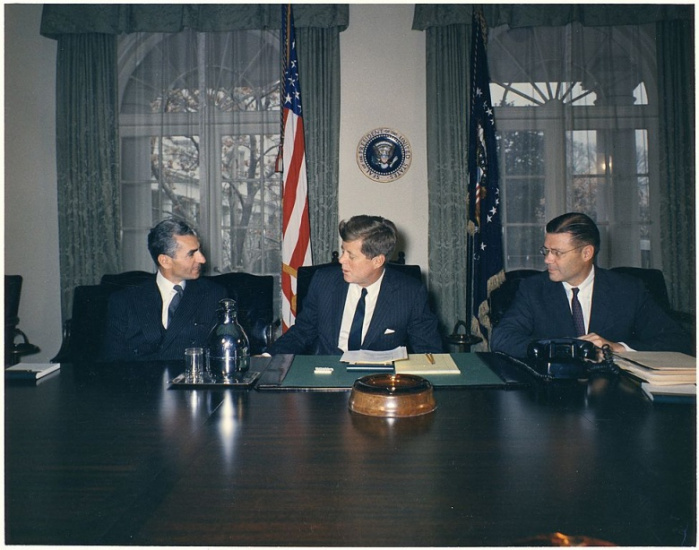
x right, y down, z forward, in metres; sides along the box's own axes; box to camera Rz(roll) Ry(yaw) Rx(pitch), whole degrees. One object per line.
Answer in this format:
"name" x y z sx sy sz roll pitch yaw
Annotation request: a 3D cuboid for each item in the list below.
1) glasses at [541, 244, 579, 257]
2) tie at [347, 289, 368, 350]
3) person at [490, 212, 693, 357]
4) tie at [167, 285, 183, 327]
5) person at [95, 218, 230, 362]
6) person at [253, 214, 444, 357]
"glasses" 0.964 -0.107 3.063 0.164 0.050 0.061 11 18 41
"tie" 0.033 0.202 3.100 0.053 0.291 0.033 10 -34 1
"person" 1.065 0.040 2.949 0.836 0.563 0.539 2 14 12
"tie" -0.826 0.139 3.132 0.063 0.203 0.022 7 -36 -5
"person" -0.883 0.160 3.201 0.555 0.758 0.404 3 5 -26
"person" 0.032 0.171 3.164 0.933 0.842 0.540 6 17 28
